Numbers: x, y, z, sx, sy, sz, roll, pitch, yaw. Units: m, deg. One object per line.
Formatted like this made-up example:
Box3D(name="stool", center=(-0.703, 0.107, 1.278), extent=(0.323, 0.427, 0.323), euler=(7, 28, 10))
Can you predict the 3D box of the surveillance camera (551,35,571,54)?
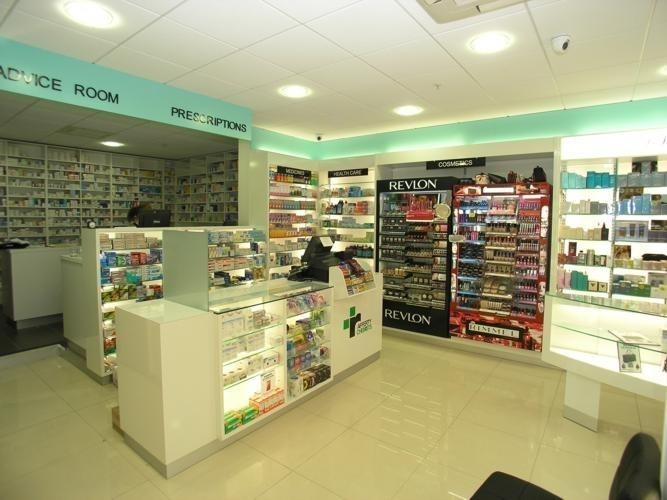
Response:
Box3D(name="surveillance camera", center=(2.767, -2.456, 5.534), extent=(0.194, 0.163, 0.331), euler=(5, 9, 34))
